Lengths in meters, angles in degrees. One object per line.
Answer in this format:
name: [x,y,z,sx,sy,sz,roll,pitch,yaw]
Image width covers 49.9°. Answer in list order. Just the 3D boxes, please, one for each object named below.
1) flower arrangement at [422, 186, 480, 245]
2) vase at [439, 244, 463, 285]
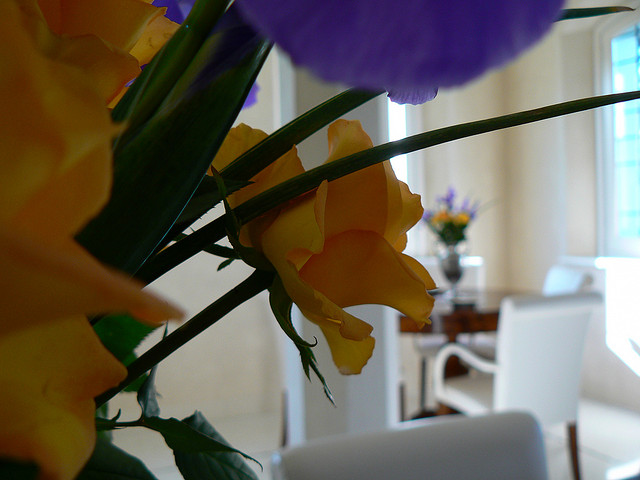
flower arrangement: [0.713,-0.116,3.716,0.253,0.377,0.296,1,-3,-16]
vase: [0.626,0.118,3.286,0.107,0.208,0.298,4,10,10]
